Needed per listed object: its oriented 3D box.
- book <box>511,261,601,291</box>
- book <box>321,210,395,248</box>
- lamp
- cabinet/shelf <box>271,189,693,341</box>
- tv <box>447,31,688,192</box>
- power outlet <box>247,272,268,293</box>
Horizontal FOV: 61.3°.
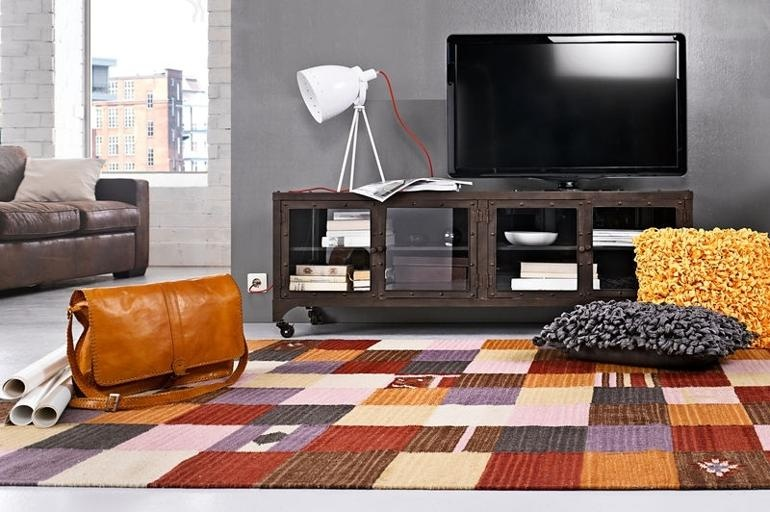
[{"bbox_3d":[0.803,0.103,3.282,0.325,0.143,0.047,-1,8,5],"label":"book"},{"bbox_3d":[-0.190,-0.139,3.385,0.355,0.123,0.222,1,4,3],"label":"book"},{"bbox_3d":[-0.243,-0.718,3.546,0.449,0.692,0.346,-3,8,-1],"label":"lamp"},{"bbox_3d":[0.427,-0.004,3.391,2.179,0.562,0.543,-1,1,-14],"label":"cabinet/shelf"},{"bbox_3d":[0.963,-0.798,3.447,1.214,0.584,0.118,0,4,2],"label":"tv"},{"bbox_3d":[-0.735,0.153,3.685,0.119,0.113,0.062,-3,8,-10],"label":"power outlet"}]
